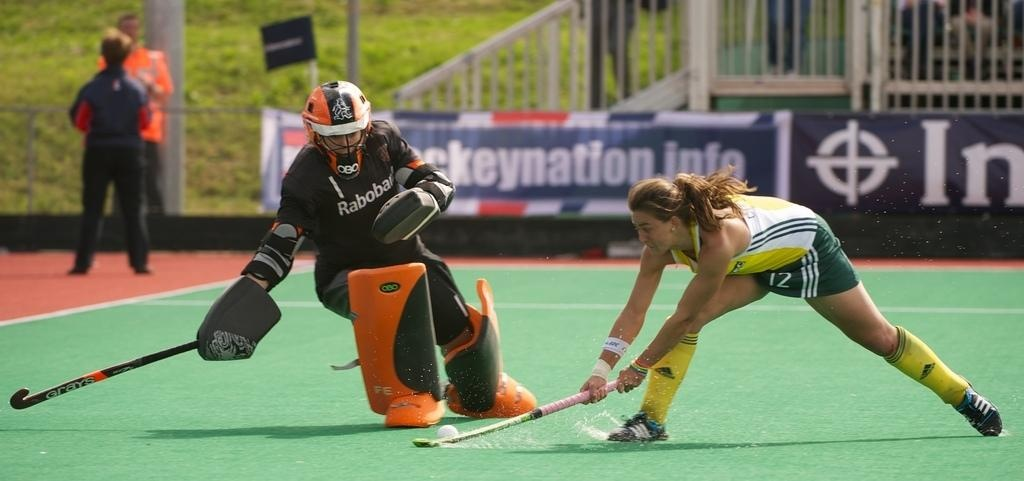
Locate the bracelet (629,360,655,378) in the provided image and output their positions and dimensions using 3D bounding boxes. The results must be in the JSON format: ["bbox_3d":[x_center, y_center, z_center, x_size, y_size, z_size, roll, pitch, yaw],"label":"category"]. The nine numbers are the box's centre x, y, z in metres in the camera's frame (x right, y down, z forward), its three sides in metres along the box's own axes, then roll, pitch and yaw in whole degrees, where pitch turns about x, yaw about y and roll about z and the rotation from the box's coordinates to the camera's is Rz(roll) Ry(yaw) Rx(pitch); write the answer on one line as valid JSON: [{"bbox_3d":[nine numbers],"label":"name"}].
[{"bbox_3d":[1.488,1.440,12.773,0.210,0.099,0.176,23,6,-19],"label":"bracelet"}]

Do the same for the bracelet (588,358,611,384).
[{"bbox_3d":[1.039,1.506,12.912,0.253,0.231,0.249,0,-17,44],"label":"bracelet"}]

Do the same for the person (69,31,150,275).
[{"bbox_3d":[-6.193,-1.531,17.672,1.157,3.109,1.504,0,1,9],"label":"person"}]
